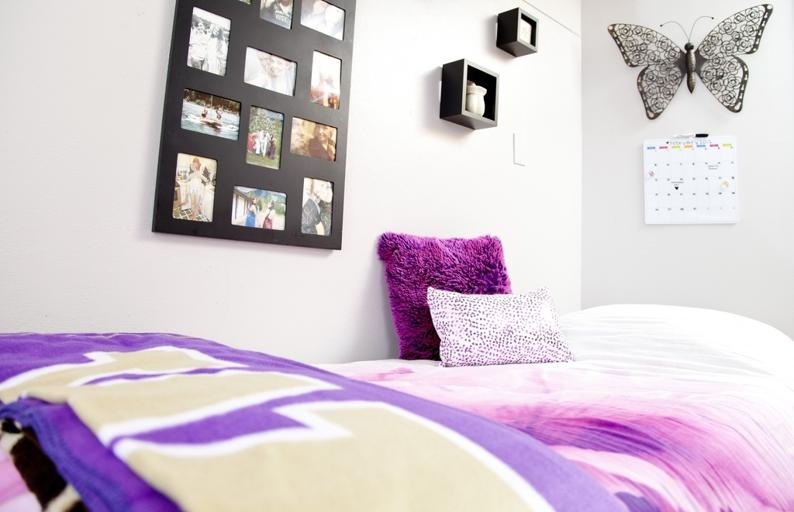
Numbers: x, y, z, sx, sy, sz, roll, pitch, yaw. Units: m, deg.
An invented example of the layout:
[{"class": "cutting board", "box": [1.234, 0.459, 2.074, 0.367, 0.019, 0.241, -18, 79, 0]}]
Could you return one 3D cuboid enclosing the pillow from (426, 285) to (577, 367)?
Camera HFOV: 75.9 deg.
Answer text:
[{"class": "pillow", "box": [0.415, 0.291, 2.107, 0.563, 0.253, 0.257, -2, 15, -16]}]
